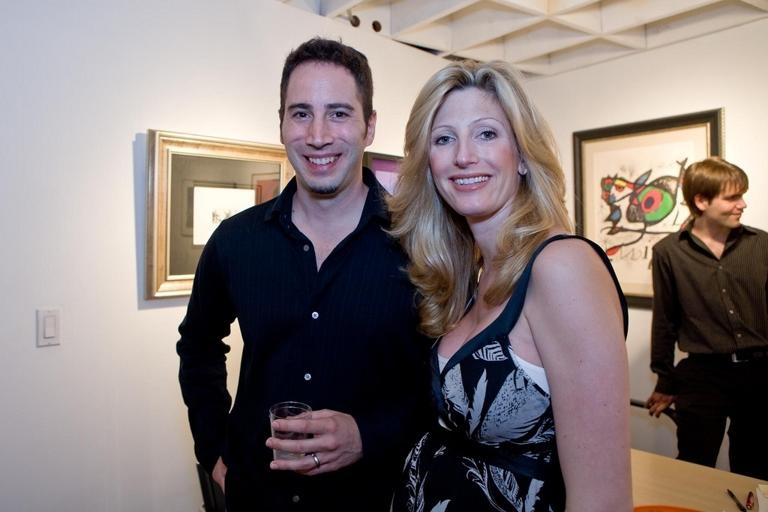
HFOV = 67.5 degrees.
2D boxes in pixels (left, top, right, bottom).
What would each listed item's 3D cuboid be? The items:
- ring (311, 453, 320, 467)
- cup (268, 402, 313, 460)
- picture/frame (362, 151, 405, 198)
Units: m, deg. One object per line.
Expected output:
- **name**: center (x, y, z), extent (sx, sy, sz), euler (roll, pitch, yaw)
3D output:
- **ring**: center (-0.283, 0.853, 2.397), extent (0.017, 0.070, 0.042), euler (2, 4, 35)
- **cup**: center (-0.391, 0.713, 2.464), extent (0.207, 0.241, 0.207), euler (0, -1, 0)
- **picture/frame**: center (-0.011, -0.530, 3.684), extent (0.039, 0.418, 0.475), euler (11, 16, 39)
